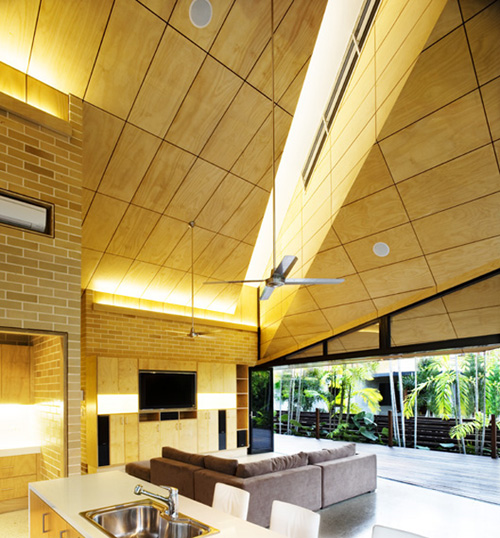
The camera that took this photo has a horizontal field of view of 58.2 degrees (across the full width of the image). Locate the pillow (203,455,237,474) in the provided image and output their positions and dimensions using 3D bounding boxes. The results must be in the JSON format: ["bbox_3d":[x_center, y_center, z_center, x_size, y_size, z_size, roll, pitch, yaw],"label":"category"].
[{"bbox_3d":[-0.346,2.243,5.182,0.147,0.182,0.571,11,-21,-41],"label":"pillow"}]

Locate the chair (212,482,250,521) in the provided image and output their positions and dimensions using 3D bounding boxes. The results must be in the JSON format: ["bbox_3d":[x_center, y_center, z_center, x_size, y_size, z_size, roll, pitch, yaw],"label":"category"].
[{"bbox_3d":[-0.133,1.708,3.332,0.122,0.198,0.443,8,-19,-34],"label":"chair"}]
